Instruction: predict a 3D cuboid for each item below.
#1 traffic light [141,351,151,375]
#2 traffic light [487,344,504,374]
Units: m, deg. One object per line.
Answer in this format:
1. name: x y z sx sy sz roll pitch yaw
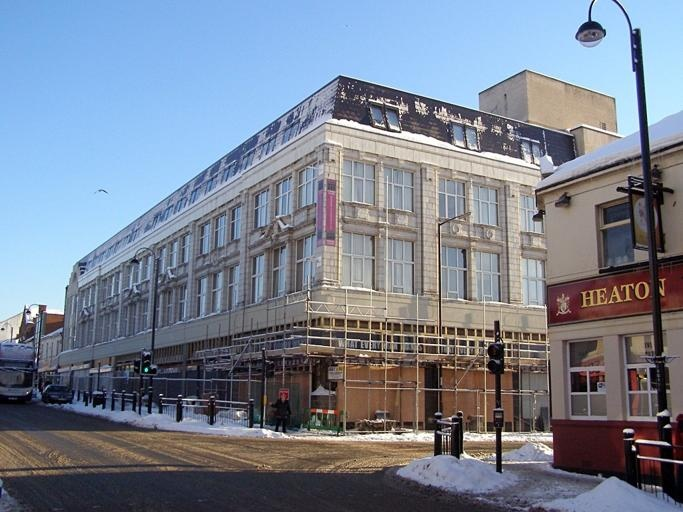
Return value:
1. traffic light: -10.490 5.745 34.665 0.738 1.239 1.508 5 -17 -16
2. traffic light: 4.290 2.818 17.680 0.461 0.925 0.692 -4 -17 12
